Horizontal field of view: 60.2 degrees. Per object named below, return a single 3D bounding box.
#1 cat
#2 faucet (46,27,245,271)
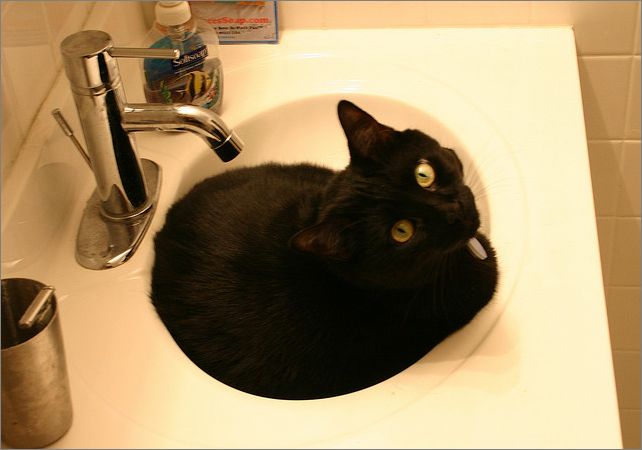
[{"bbox_3d":[-0.011,0.048,0.915,0.580,0.244,0.406,-4,35,29],"label":"cat"},{"bbox_3d":[-0.263,-0.098,0.784,0.219,0.332,0.202,-18,37,-28],"label":"faucet"}]
